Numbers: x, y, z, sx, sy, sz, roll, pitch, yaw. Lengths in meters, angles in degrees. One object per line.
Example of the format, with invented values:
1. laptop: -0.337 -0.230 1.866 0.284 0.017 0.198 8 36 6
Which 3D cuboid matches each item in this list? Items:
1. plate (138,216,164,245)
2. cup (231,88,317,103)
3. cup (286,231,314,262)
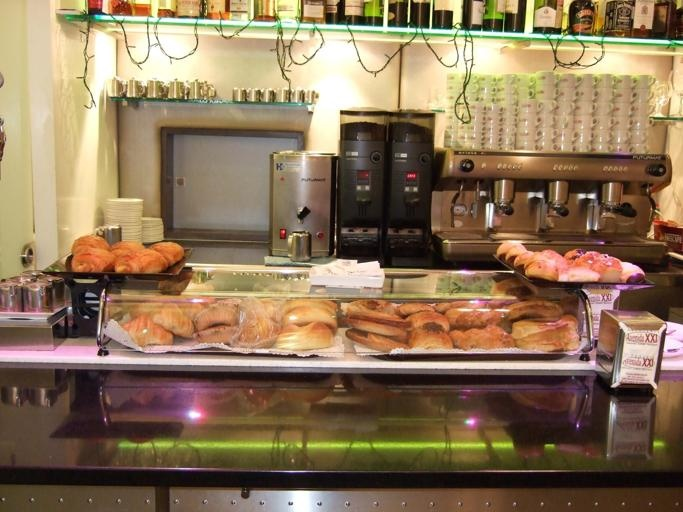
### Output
1. plate: -1.125 -0.140 3.465 0.149 0.109 0.149 5 6 38
2. cup: -0.412 -0.985 3.565 0.519 0.112 0.093 0 12 7
3. cup: -0.216 -0.047 2.973 0.166 0.152 0.112 1 6 13
